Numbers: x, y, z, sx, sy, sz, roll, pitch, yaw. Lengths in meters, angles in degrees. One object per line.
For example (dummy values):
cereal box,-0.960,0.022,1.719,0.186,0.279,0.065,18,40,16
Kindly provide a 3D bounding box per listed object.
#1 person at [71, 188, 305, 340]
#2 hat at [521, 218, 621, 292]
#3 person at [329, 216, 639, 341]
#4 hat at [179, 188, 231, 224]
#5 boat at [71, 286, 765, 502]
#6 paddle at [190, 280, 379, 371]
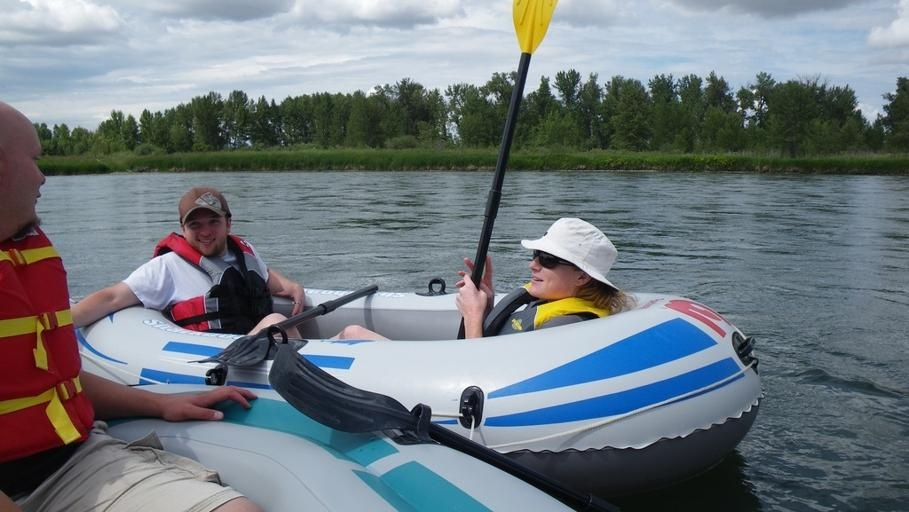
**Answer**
person,-2.076,0.204,6.262,1.274,1.101,1.861,2,8,39
hat,0.842,-0.055,5.509,0.593,0.263,0.466,21,5,1
person,0.409,0.215,5.707,1.577,0.584,1.142,-16,0,24
hat,-2.127,-0.432,6.272,0.420,0.302,0.575,-12,2,-14
boat,0.096,0.937,5.525,3.391,0.920,2.314,1,0,14
paddle,-1.135,0.486,5.945,0.402,0.138,1.636,18,22,31
